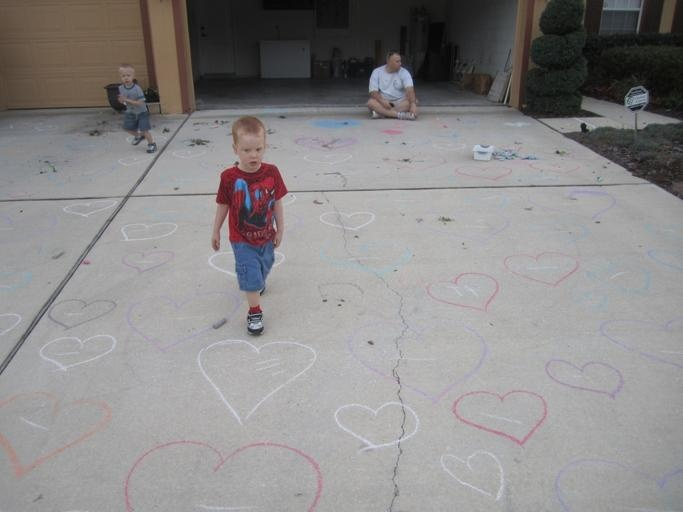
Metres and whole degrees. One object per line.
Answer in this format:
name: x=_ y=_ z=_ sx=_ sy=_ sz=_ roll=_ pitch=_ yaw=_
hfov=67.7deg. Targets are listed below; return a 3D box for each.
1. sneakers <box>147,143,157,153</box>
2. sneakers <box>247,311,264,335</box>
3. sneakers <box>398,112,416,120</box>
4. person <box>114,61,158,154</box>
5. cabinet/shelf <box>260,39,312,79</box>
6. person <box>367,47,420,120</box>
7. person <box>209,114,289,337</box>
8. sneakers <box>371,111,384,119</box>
sneakers: x=-2.320 y=-1.318 z=6.242 sx=0.075 sy=0.082 sz=0.204 roll=-1 pitch=16 yaw=-4
sneakers: x=-0.497 y=0.390 z=2.934 sx=0.068 sy=0.068 sz=0.158 roll=1 pitch=26 yaw=-7
sneakers: x=1.008 y=-2.163 z=7.893 sx=0.310 sy=0.098 sz=0.128 roll=1 pitch=13 yaw=0
person: x=-2.454 y=-1.753 z=6.107 sx=0.346 sy=0.989 sz=0.863 roll=-9 pitch=27 yaw=-18
cabinet/shelf: x=-1.927 y=-6.028 z=15.588 sx=1.708 sy=1.063 sz=0.829 roll=-15 pitch=33 yaw=-31
person: x=0.815 y=-2.678 z=8.056 sx=0.802 sy=0.979 sz=1.056 roll=-14 pitch=32 yaw=-20
person: x=-0.544 y=-0.165 z=2.877 sx=0.392 sy=1.178 sz=0.465 roll=3 pitch=27 yaw=5
sneakers: x=0.572 y=-2.255 z=8.126 sx=0.179 sy=0.101 sz=0.335 roll=2 pitch=24 yaw=2
